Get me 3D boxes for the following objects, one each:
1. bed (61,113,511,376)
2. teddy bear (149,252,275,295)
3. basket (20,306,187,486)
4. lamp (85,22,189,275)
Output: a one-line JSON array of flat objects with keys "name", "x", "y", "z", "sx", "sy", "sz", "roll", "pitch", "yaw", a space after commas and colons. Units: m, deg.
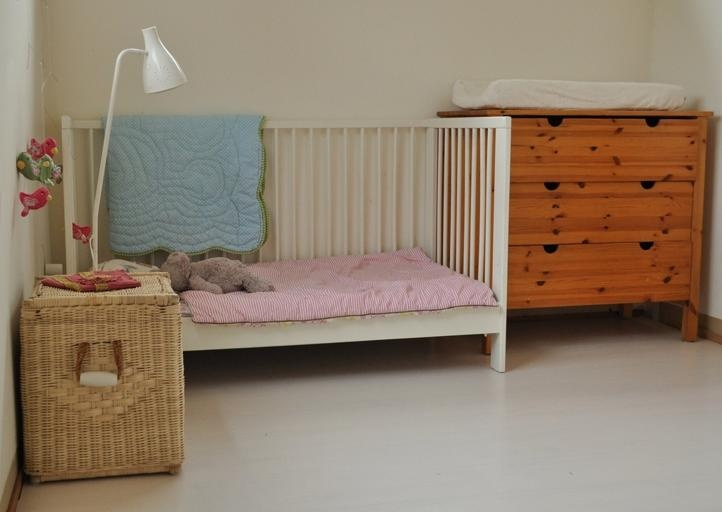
[{"name": "bed", "x": -0.384, "y": -0.060, "z": 3.077, "sx": 1.355, "sy": 0.784, "sz": 0.521, "roll": -1, "pitch": 3, "yaw": -13}, {"name": "teddy bear", "x": -0.679, "y": 0.090, "z": 2.991, "sx": 0.351, "sy": 0.132, "sz": 0.252, "roll": 2, "pitch": -5, "yaw": -15}, {"name": "basket", "x": -0.827, "y": 0.458, "z": 2.344, "sx": 0.604, "sy": 0.562, "sz": 0.449, "roll": -5, "pitch": -3, "yaw": 2}, {"name": "lamp", "x": -1.097, "y": -0.524, "z": 3.171, "sx": 0.528, "sy": 1.491, "sz": 0.308, "roll": 3, "pitch": 43, "yaw": -21}]
